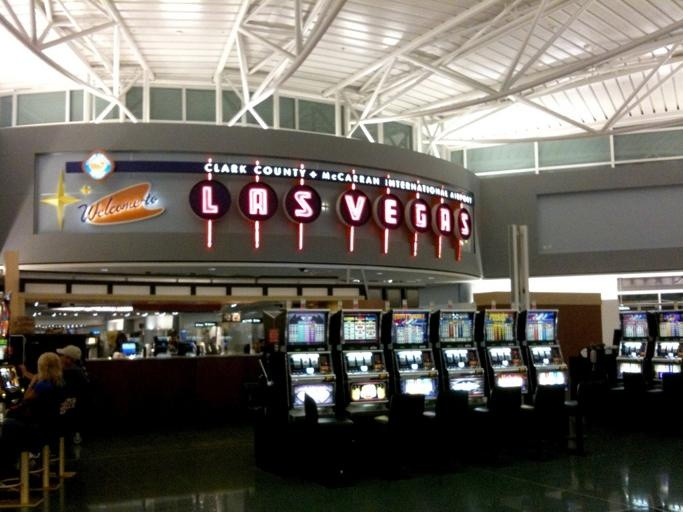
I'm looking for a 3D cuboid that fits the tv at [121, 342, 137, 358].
[{"bbox_3d":[-5.158,2.241,15.808,0.391,0.376,0.219,5,-10,-37],"label":"tv"}]

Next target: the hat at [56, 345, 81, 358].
[{"bbox_3d":[-4.397,1.491,10.497,0.410,0.161,0.272,11,-1,5],"label":"hat"}]
